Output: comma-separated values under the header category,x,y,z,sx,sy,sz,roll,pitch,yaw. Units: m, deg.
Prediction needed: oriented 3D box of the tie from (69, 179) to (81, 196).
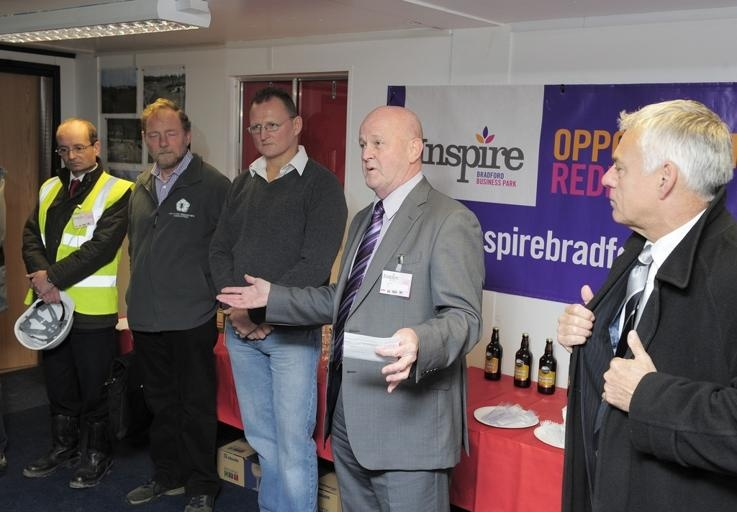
category,x,y,z,sx,sy,sz,roll,pitch,yaw
tie,-1.986,-0.474,4.246,0.068,0.131,0.030,3,-12,24

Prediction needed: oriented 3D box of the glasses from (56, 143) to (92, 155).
category,x,y,z,sx,sy,sz,roll,pitch,yaw
glasses,-1.996,-0.722,4.201,0.253,0.096,0.106,3,12,5

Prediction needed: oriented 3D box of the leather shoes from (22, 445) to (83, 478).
category,x,y,z,sx,sy,sz,roll,pitch,yaw
leather shoes,-2.145,1.411,4.236,0.124,0.191,0.377,8,5,38

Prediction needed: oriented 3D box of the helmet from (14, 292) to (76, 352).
category,x,y,z,sx,sy,sz,roll,pitch,yaw
helmet,-2.100,0.452,4.192,0.314,0.438,0.155,22,-19,18

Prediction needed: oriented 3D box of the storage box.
category,x,y,z,sx,sy,sz,roll,pitch,yaw
storage box,-0.505,1.292,3.630,0.666,0.170,0.357,11,10,29

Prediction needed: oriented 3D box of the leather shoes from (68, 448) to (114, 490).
category,x,y,z,sx,sy,sz,roll,pitch,yaw
leather shoes,-1.836,1.423,4.128,0.123,0.251,0.333,-3,-7,18

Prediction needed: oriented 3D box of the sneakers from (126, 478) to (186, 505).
category,x,y,z,sx,sy,sz,roll,pitch,yaw
sneakers,-1.343,1.493,3.988,0.363,0.144,0.134,7,4,-35
